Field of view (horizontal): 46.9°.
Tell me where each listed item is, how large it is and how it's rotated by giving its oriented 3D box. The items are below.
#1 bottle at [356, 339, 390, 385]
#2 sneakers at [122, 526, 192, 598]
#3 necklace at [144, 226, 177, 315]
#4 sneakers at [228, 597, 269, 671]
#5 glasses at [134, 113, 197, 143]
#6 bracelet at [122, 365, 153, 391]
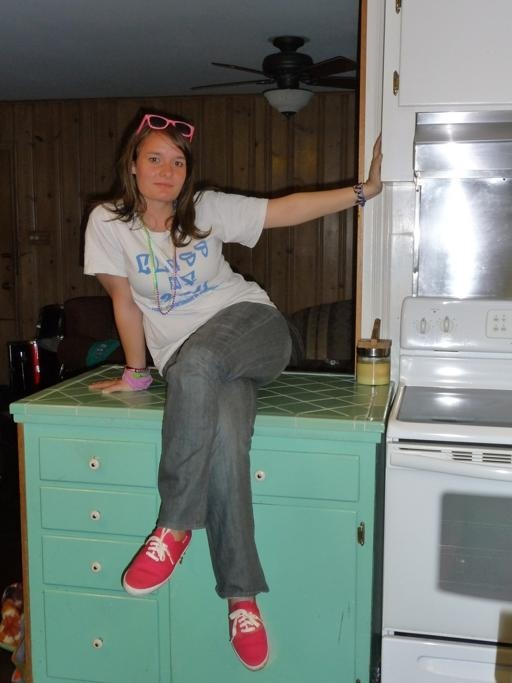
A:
[{"bbox_3d":[0.327,0.059,1.642,0.092,0.133,0.074,2,1,21],"label":"bottle"},{"bbox_3d":[-0.189,0.425,1.237,0.084,0.076,0.193,31,32,5],"label":"sneakers"},{"bbox_3d":[-0.255,-0.193,1.466,0.018,0.223,0.080,-9,-6,-5],"label":"necklace"},{"bbox_3d":[-0.020,0.586,1.184,0.060,0.066,0.164,-5,12,-6],"label":"sneakers"},{"bbox_3d":[-0.228,-0.537,1.456,0.136,0.085,0.122,-1,6,-4],"label":"glasses"},{"bbox_3d":[-0.303,0.097,1.541,0.053,0.060,0.071,-1,0,-16],"label":"bracelet"}]
